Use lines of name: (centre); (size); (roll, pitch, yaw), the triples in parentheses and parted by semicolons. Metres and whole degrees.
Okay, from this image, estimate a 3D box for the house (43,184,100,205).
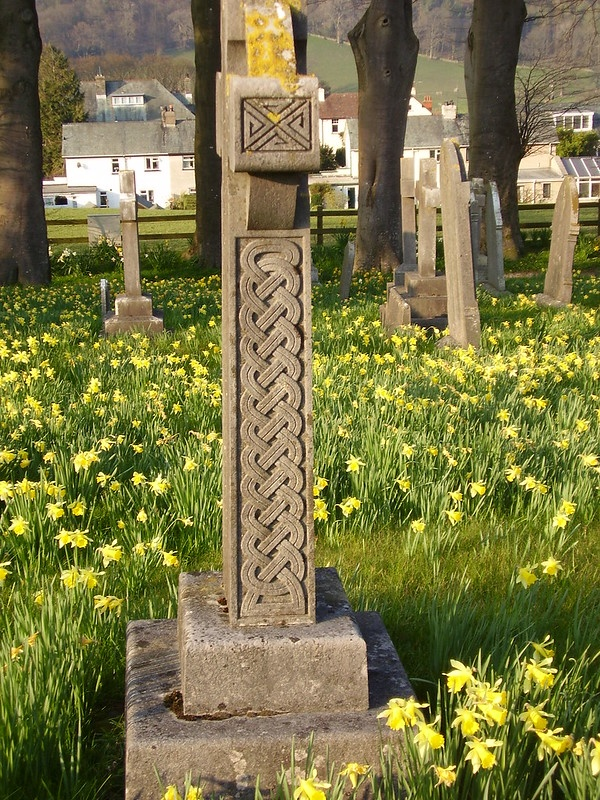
house: (-12.105, -10.701, 77.747); (2.419, 1.137, 6.721); (-3, 10, -1)
